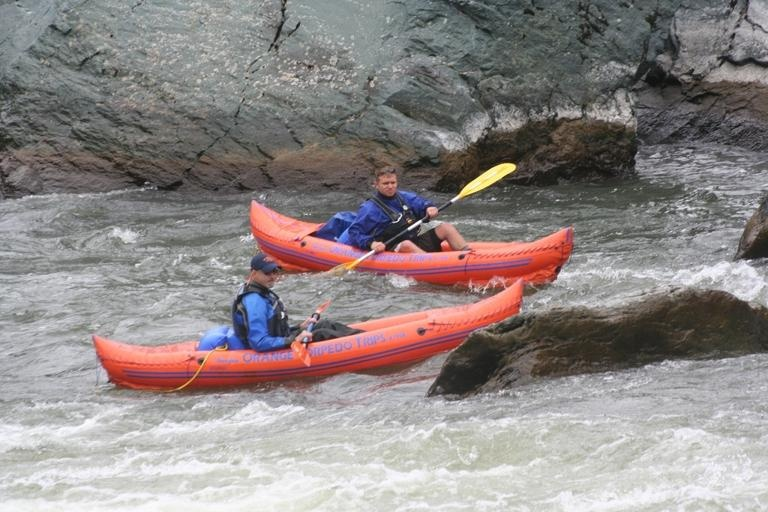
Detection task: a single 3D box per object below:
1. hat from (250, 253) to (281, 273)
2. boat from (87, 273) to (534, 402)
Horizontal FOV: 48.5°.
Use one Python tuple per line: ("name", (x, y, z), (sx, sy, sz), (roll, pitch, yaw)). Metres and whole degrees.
("hat", (-1.319, 0.082, 9.415), (0.273, 0.194, 0.223), (5, 11, 1))
("boat", (0.210, 0.976, 9.728), (6.909, 0.714, 1.337), (-4, 14, 2))
